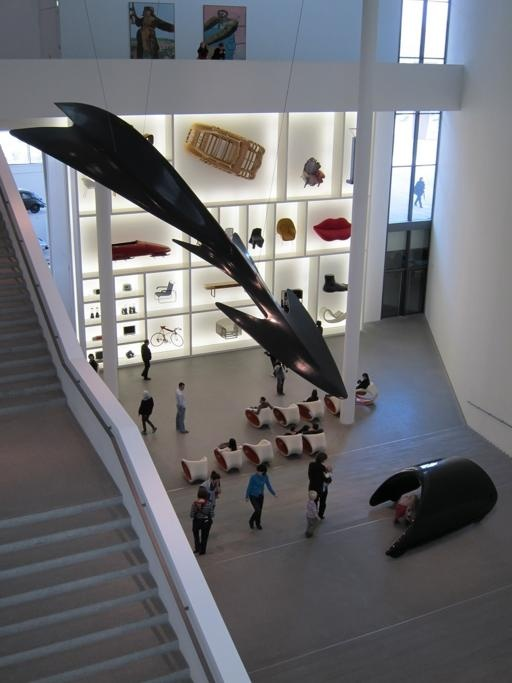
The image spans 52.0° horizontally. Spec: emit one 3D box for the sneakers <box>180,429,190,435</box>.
[{"bbox_3d":[-1.485,1.888,10.967,0.181,0.075,0.066,-6,18,-19],"label":"sneakers"}]

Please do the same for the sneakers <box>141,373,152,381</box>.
[{"bbox_3d":[-2.680,0.890,12.995,0.247,0.226,0.108,-10,24,-33],"label":"sneakers"}]

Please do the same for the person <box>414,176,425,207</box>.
[{"bbox_3d":[4.894,-4.454,15.739,0.309,0.824,0.107,1,13,9],"label":"person"}]

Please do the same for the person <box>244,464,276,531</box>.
[{"bbox_3d":[0.059,2.286,7.946,0.411,1.151,0.679,-1,13,1],"label":"person"}]

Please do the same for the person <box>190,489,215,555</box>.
[{"bbox_3d":[-0.745,2.427,7.131,0.325,0.924,0.277,3,8,-11],"label":"person"}]
